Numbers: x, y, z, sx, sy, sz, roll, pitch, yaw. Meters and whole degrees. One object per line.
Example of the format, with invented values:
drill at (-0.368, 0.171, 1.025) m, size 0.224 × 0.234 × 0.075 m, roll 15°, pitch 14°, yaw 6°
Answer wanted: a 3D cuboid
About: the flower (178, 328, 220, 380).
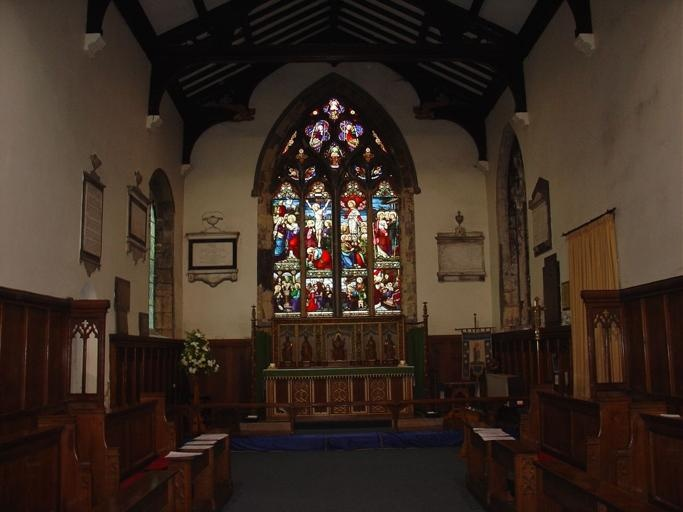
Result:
flower at (-2.888, 2.029, 12.697) m, size 0.803 × 1.268 × 0.859 m, roll -4°, pitch -9°, yaw 9°
